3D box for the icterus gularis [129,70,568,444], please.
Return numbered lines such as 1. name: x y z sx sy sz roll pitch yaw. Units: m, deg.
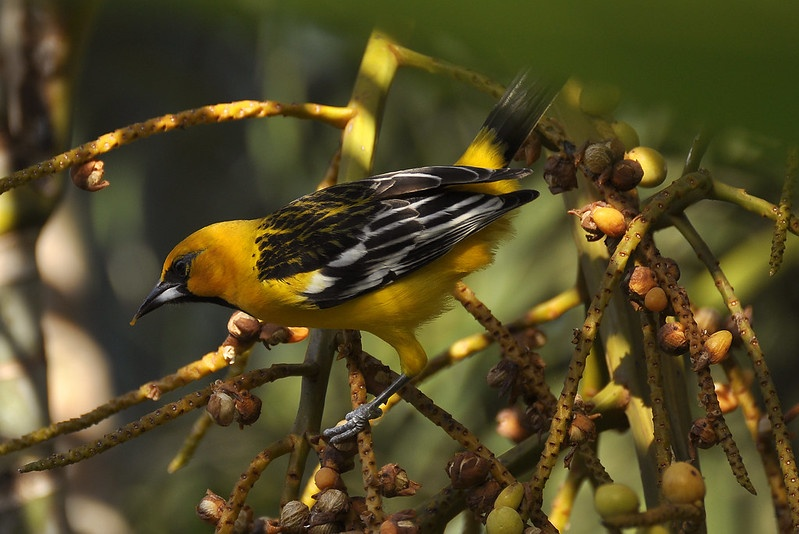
1. icterus gularis: -0.083 -0.053 2.600 1.317 0.876 0.410 -16 16 -7
